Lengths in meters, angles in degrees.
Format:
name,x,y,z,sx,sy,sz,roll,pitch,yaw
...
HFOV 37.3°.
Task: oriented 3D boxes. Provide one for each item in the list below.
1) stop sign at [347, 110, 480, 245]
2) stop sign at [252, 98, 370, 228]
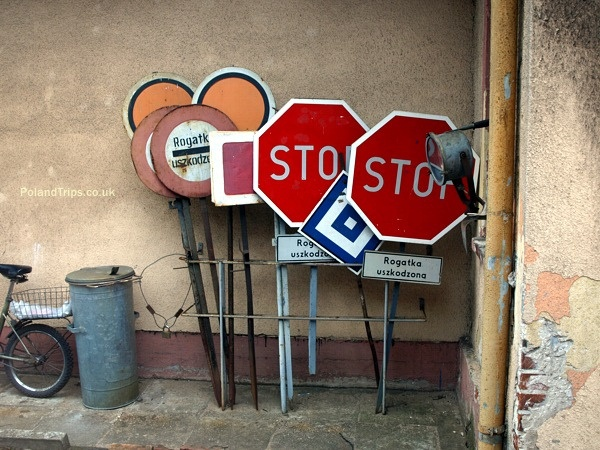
name,x,y,z,sx,sy,sz,roll,pitch,yaw
stop sign,0.953,-0.396,7.733,1.096,1.131,0.124,1,5,-3
stop sign,0.122,-0.540,8.001,1.015,1.079,0.107,-7,5,-1
